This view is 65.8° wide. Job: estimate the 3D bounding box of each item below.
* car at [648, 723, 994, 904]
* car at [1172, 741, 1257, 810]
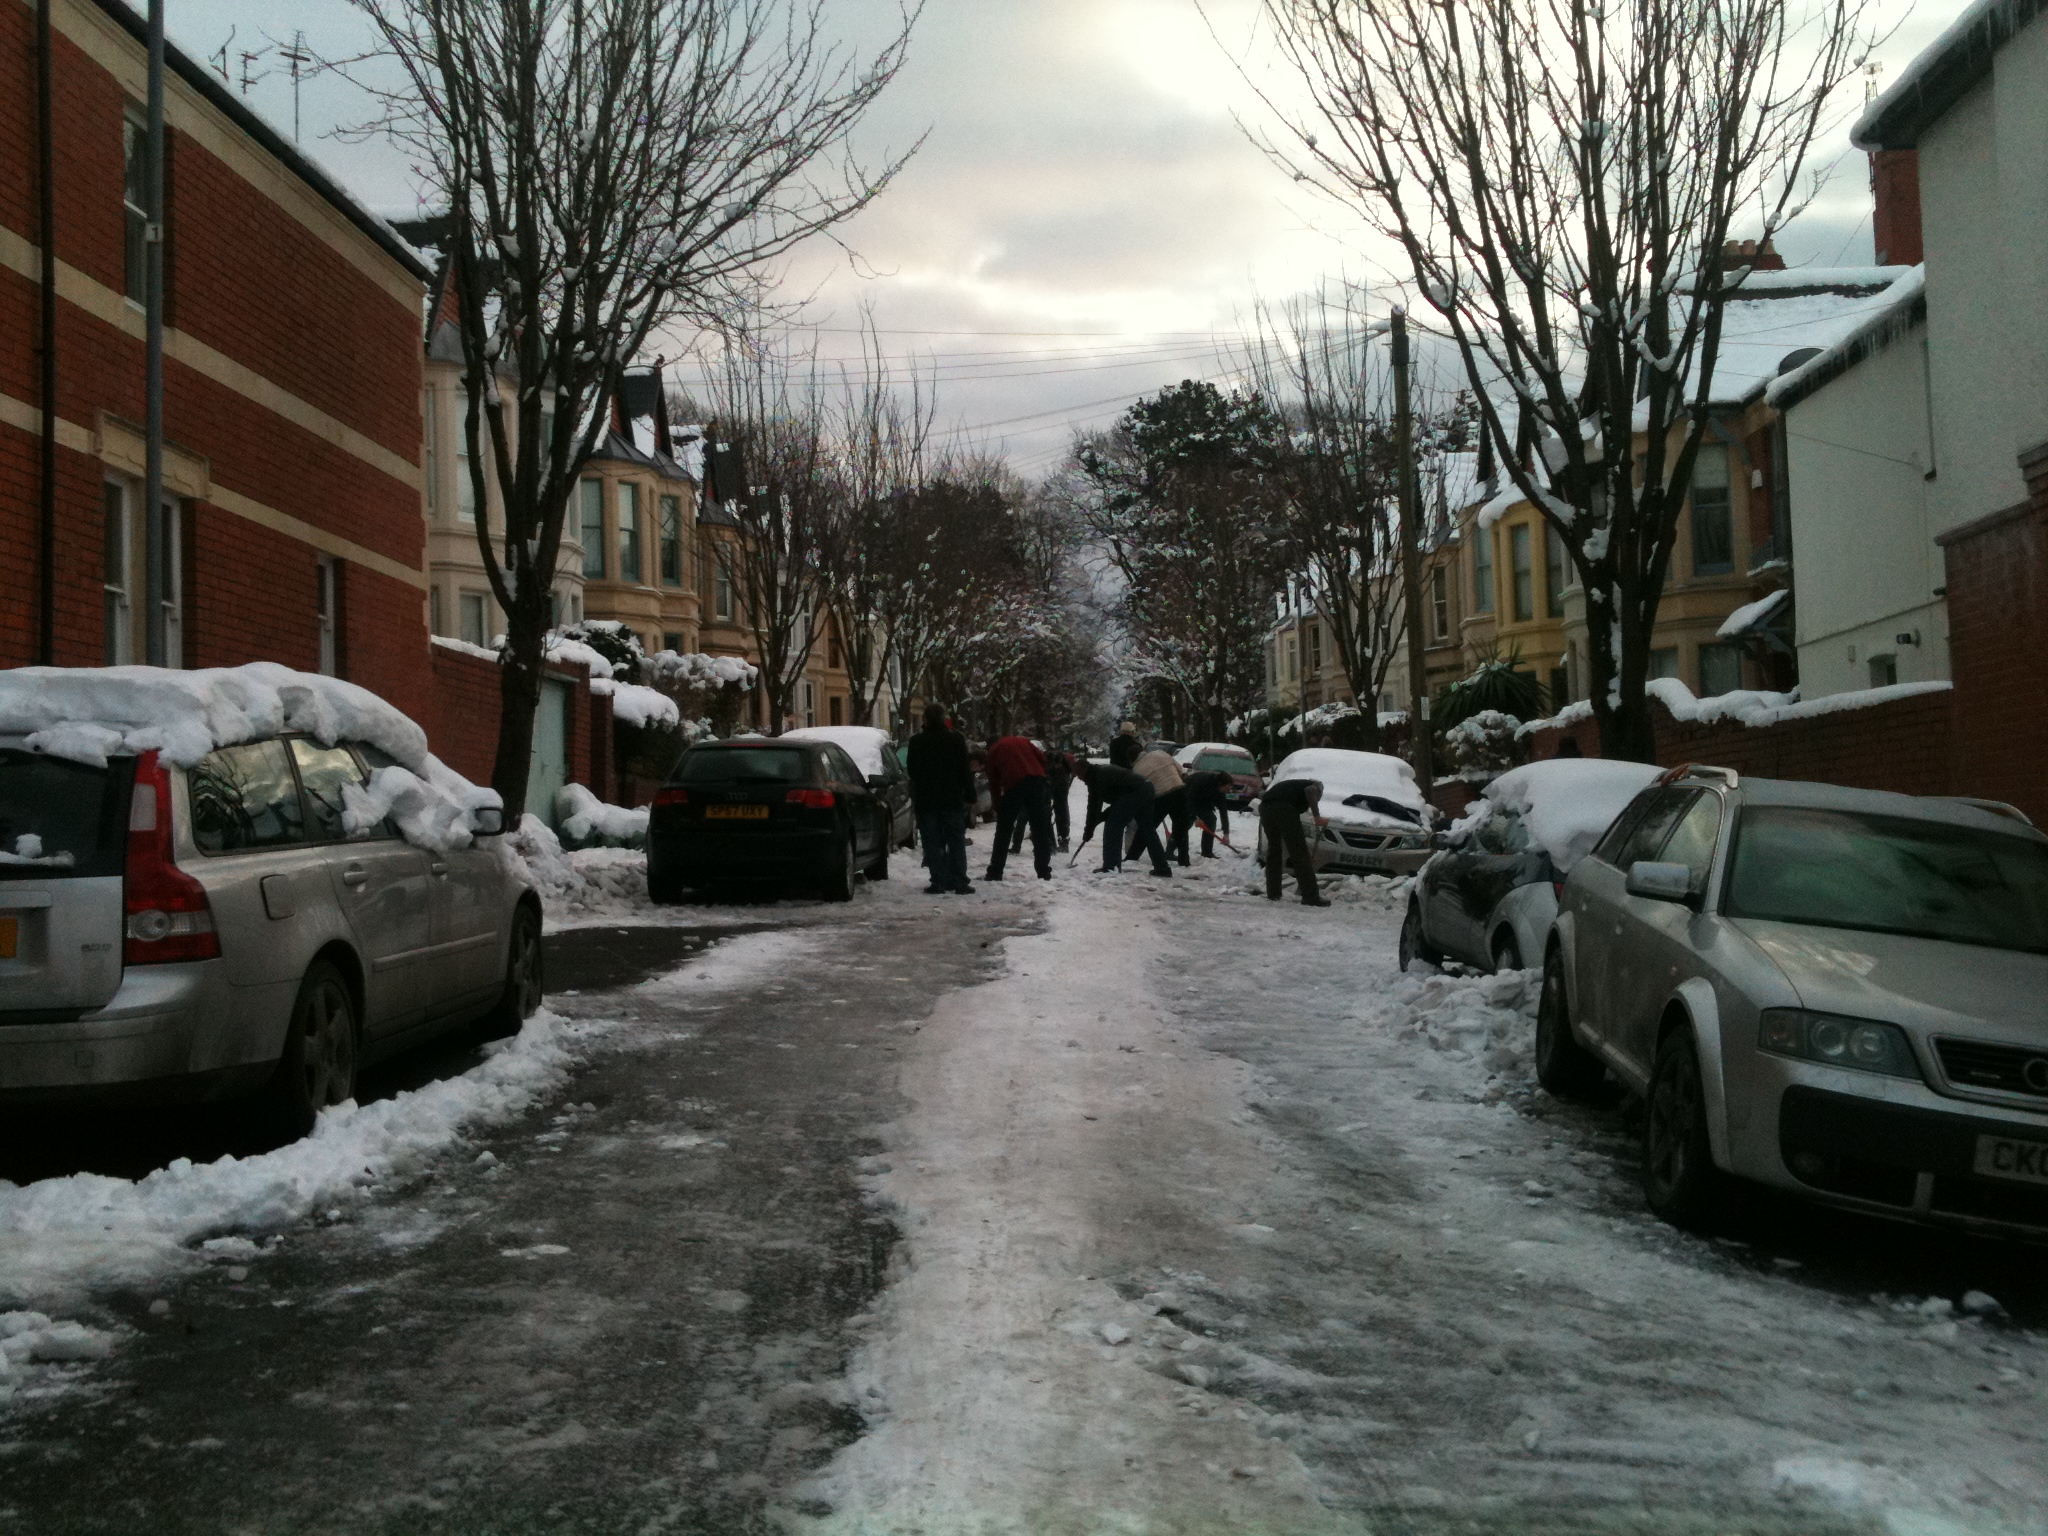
[{"bbox_3d":[-2.834,0.589,18.005,2.031,1.787,2.599,1,2,9],"label":"car"},{"bbox_3d":[4.573,-0.219,36.128,1.406,1.540,2.779,-1,15,-1],"label":"car"}]
